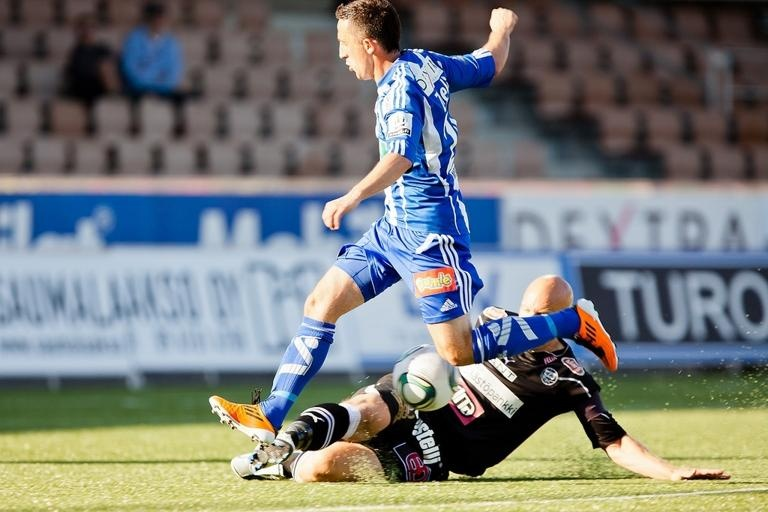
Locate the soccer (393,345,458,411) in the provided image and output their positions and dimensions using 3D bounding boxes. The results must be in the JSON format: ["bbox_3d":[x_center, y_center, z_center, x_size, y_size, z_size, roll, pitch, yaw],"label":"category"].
[{"bbox_3d":[0.338,0.992,11.053,0.505,0.452,0.555,-19,-12,24],"label":"soccer"}]

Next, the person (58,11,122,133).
[{"bbox_3d":[-3.245,-1.990,15.480,0.650,1.217,0.281,8,16,35],"label":"person"}]
